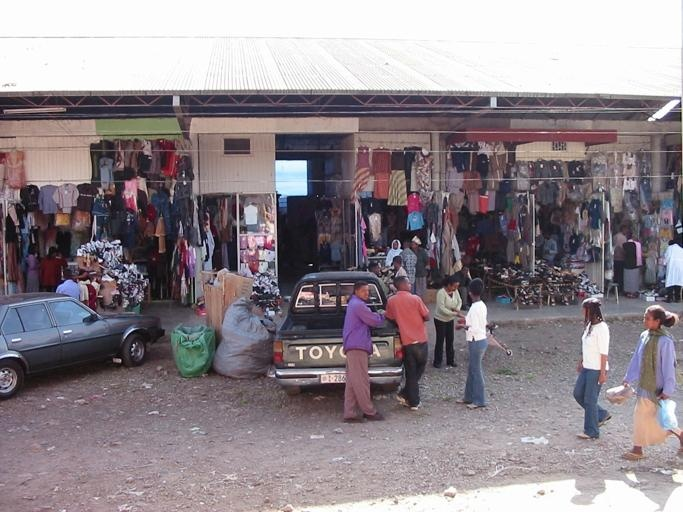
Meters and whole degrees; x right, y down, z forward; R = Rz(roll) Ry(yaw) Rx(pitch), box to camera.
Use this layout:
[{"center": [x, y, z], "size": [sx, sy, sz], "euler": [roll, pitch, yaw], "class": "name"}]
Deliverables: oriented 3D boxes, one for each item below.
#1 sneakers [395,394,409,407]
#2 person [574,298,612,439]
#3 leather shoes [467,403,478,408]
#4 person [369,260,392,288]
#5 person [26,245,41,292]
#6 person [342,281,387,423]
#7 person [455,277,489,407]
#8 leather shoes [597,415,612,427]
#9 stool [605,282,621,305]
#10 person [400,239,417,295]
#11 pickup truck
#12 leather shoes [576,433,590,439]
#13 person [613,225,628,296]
[{"center": [0.990, 2.356, 11.656], "size": [0.147, 0.144, 0.051], "euler": [-27, -31, 5], "class": "sneakers"}, {"center": [3.654, 1.548, 10.453], "size": [0.497, 1.966, 1.157], "euler": [3, 10, 21], "class": "person"}, {"center": [2.077, 2.392, 11.406], "size": [0.156, 0.077, 0.068], "euler": [4, -3, 11], "class": "leather shoes"}, {"center": [0.981, 0.430, 17.576], "size": [0.283, 0.418, 0.912], "euler": [-2, -6, -3], "class": "person"}, {"center": [-7.588, 0.422, 17.788], "size": [0.387, 0.856, 0.454], "euler": [-4, 10, -18], "class": "person"}, {"center": [0.323, 1.491, 10.991], "size": [0.591, 2.061, 0.511], "euler": [-1, 10, -3], "class": "person"}, {"center": [2.105, 1.405, 11.474], "size": [0.430, 1.960, 0.557], "euler": [1, 10, 11], "class": "person"}, {"center": [3.752, 2.385, 10.324], "size": [0.097, 0.237, 0.079], "euler": [40, 20, 11], "class": "leather shoes"}, {"center": [7.115, 1.011, 18.957], "size": [0.400, 0.801, 0.441], "euler": [-4, -10, 34], "class": "stool"}, {"center": [1.670, 0.465, 17.921], "size": [0.474, 1.800, 0.476], "euler": [0, 29, 4], "class": "person"}, {"center": [-0.183, 1.172, 12.178], "size": [1.255, 1.238, 2.562], "euler": [-1, 13, -1], "class": "pickup truck"}, {"center": [3.408, 2.561, 10.202], "size": [0.165, 0.078, 0.066], "euler": [16, -28, 29], "class": "leather shoes"}, {"center": [7.474, 0.164, 19.471], "size": [0.314, 1.726, 0.398], "euler": [3, 10, 22], "class": "person"}]
